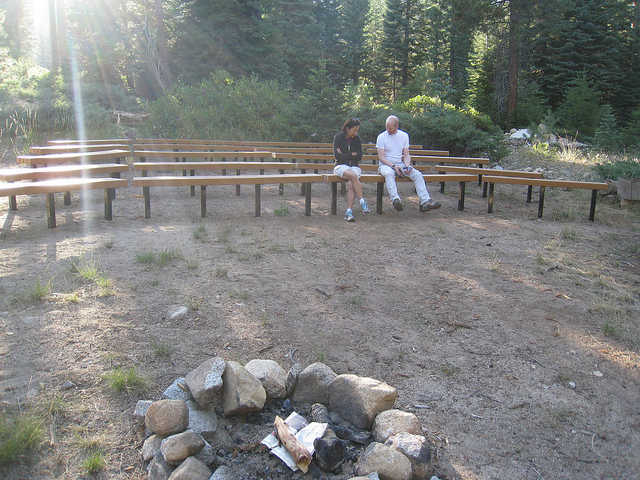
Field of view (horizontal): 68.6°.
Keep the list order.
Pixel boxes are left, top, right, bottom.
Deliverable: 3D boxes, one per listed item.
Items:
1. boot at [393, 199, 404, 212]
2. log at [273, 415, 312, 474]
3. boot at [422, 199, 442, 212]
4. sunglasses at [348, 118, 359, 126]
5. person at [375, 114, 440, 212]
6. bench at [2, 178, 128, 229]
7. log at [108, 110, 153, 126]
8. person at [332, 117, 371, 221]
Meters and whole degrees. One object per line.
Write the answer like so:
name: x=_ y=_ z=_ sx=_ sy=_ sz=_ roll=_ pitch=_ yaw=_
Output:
boot: x=1.369 y=-0.611 z=8.240 sx=0.152 sy=0.210 sz=0.213 roll=1 pitch=13 yaw=4
log: x=-0.244 y=1.768 z=4.074 sx=0.431 sy=0.303 sz=0.160 roll=13 pitch=18 yaw=43
boot: x=1.946 y=-0.605 z=8.303 sx=0.415 sy=0.210 sz=0.145 roll=-14 pitch=14 yaw=36
sunglasses: x=0.602 y=-2.118 z=8.462 sx=0.150 sy=0.075 sz=0.128 roll=8 pitch=21 yaw=38
person: x=1.512 y=-1.408 z=8.663 sx=0.844 sy=1.732 sz=1.223 roll=0 pitch=13 yaw=-1
bench: x=-3.728 y=-0.554 z=6.952 sx=0.453 sy=0.647 sz=1.675 roll=12 pitch=18 yaw=42
log: x=-7.330 y=-4.681 z=17.948 sx=1.360 sy=0.438 sz=0.895 roll=-1 pitch=29 yaw=-42
person: x=0.574 y=-1.314 z=8.496 sx=0.604 sy=1.711 sz=1.143 roll=0 pitch=13 yaw=0
